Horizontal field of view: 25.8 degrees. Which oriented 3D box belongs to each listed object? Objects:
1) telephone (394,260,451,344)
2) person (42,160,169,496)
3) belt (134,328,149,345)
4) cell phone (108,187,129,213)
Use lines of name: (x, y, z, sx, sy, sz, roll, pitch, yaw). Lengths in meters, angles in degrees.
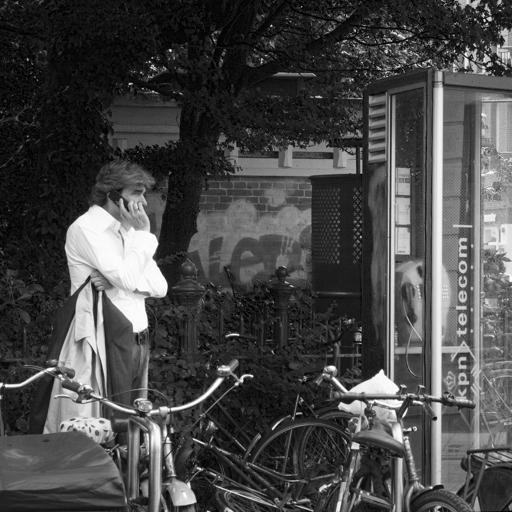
telephone: (1.009, 0.275, 6.792, 0.341, 0.513, 0.190, 1, -2, 7)
person: (-0.828, 0.326, 6.061, 0.623, 1.618, 0.528, 0, -2, -1)
belt: (-0.628, 0.418, 6.050, 0.082, 0.049, 0.111, -2, -5, -12)
cell phone: (-0.755, -0.311, 6.101, 0.042, 0.121, 0.085, -17, 5, -26)
